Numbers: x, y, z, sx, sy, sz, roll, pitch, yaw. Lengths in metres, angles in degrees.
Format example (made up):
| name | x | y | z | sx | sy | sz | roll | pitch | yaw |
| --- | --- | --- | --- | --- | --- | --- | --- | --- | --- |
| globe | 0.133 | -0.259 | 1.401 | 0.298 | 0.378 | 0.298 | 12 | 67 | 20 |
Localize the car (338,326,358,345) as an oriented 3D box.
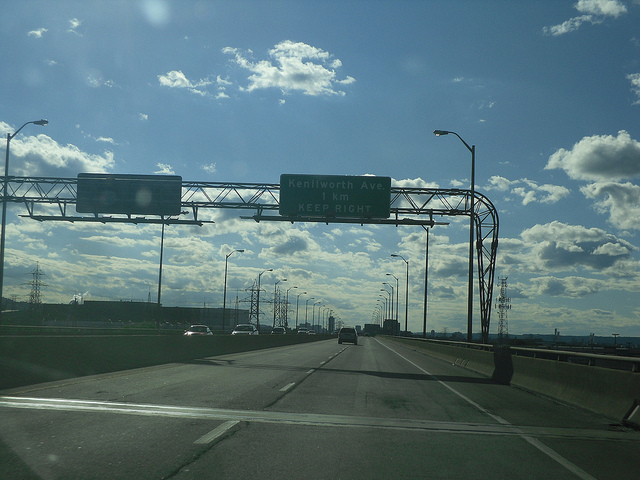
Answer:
| name | x | y | z | sx | sy | sz | roll | pitch | yaw |
| --- | --- | --- | --- | --- | --- | --- | --- | --- | --- |
| car | 2.241 | 7.777 | 70.517 | 1.421 | 1.374 | 2.882 | 0 | -3 | 0 |
